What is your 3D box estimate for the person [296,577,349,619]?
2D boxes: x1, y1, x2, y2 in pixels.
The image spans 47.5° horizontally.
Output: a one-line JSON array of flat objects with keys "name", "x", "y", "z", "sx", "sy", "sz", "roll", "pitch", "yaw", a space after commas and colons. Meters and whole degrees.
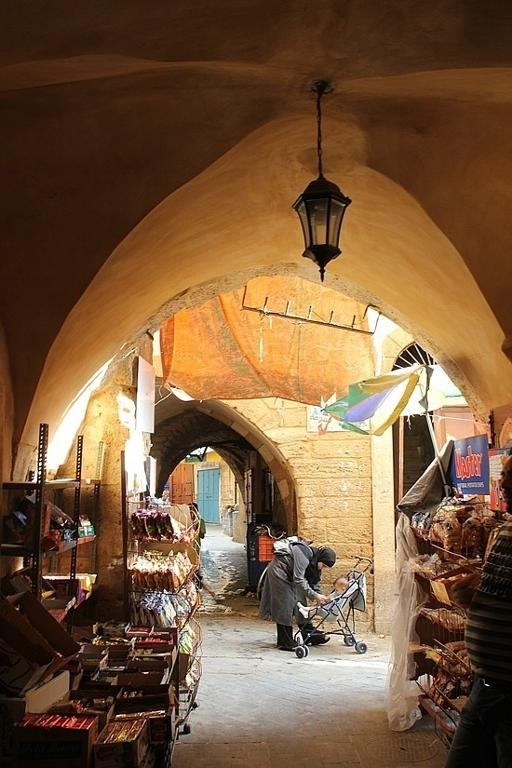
[{"name": "person", "x": 0.963, "y": 3.183, "z": 8.625, "sx": 0.719, "sy": 0.572, "sz": 1.096, "roll": 1, "pitch": -14, "yaw": 2}]

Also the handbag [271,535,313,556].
[{"name": "handbag", "x": 0.483, "y": 2.380, "z": 8.610, "sx": 0.350, "sy": 0.124, "sz": 0.307, "roll": 2, "pitch": -2, "yaw": -29}]

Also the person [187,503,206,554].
[{"name": "person", "x": -0.996, "y": 2.502, "z": 10.165, "sx": 0.338, "sy": 0.829, "sz": 0.298, "roll": -8, "pitch": -11, "yaw": 14}]
